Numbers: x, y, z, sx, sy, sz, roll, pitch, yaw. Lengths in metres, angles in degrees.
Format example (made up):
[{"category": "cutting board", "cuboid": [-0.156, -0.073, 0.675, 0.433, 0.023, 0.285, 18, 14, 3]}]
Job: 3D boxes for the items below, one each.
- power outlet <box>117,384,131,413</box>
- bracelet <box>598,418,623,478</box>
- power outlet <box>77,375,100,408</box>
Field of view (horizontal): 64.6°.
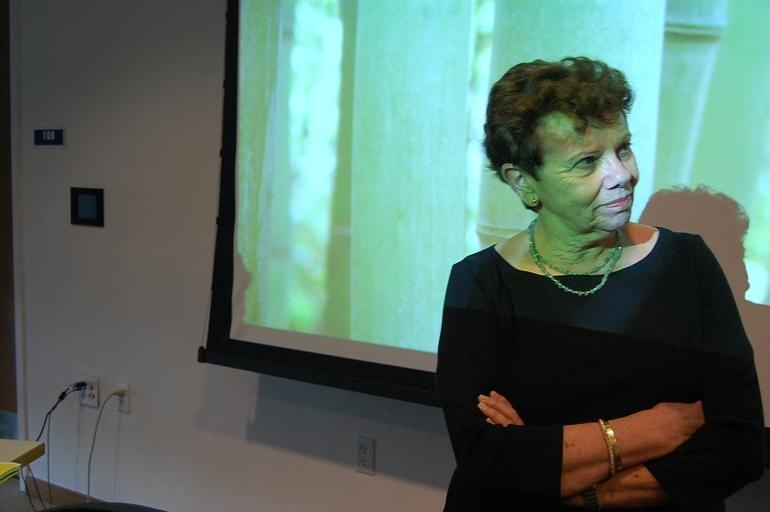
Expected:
[{"category": "power outlet", "cuboid": [-1.203, 0.658, 2.821, 0.128, 0.174, 0.018, 6, 8, 44]}, {"category": "bracelet", "cuboid": [0.594, 0.505, 1.599, 0.030, 0.110, 0.083, -15, -13, 5]}, {"category": "power outlet", "cuboid": [-1.396, 0.643, 2.889, 0.145, 0.163, 0.024, 7, 8, 33]}]
